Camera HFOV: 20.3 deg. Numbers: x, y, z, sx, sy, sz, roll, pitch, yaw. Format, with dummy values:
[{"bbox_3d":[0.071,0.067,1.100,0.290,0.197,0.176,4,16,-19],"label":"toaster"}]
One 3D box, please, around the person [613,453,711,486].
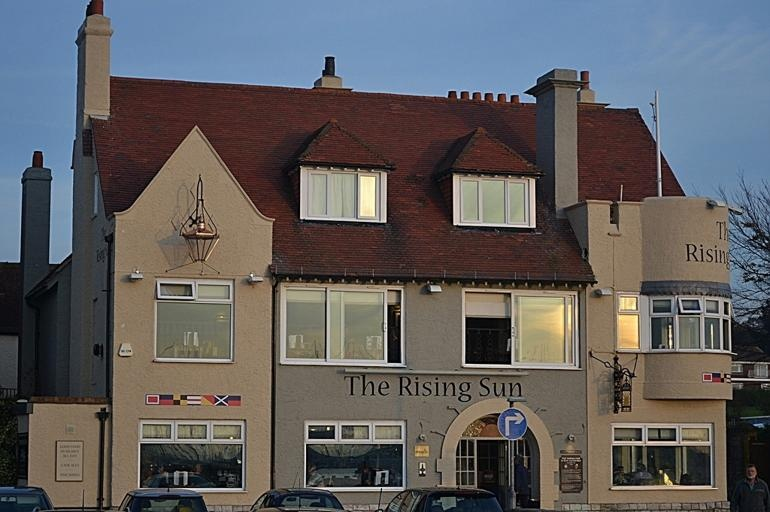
[{"bbox_3d":[10.460,8.011,80.780,3.689,1.313,0.405,0,-11,-13],"label":"person"}]
